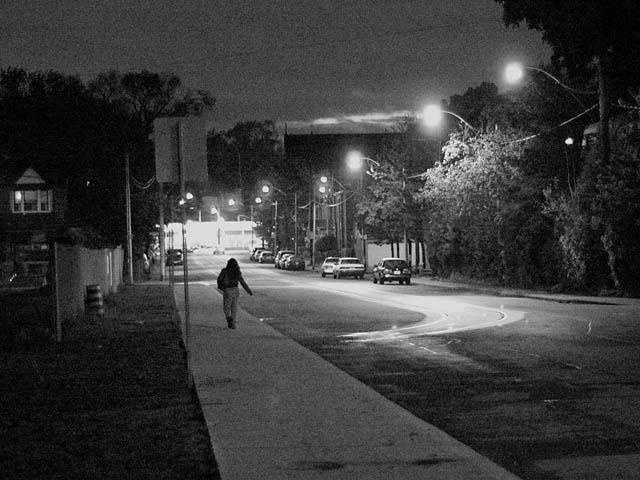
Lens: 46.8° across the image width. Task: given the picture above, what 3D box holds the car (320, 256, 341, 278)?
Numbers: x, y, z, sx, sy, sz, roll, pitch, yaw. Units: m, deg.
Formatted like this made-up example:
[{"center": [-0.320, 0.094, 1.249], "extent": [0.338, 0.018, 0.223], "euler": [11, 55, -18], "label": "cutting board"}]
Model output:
[{"center": [0.965, 2.490, 67.232], "extent": [1.256, 1.535, 3.381], "euler": [-1, -3, -7], "label": "car"}]

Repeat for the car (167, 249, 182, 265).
[{"center": [-17.498, 2.115, 88.877], "extent": [1.589, 1.928, 2.991], "euler": [1, 2, -5], "label": "car"}]

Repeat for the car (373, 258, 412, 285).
[{"center": [5.034, 2.205, 51.790], "extent": [2.568, 1.955, 1.608], "euler": [-4, -4, 22], "label": "car"}]

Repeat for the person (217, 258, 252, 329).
[{"center": [-2.525, 1.599, 21.943], "extent": [0.918, 2.100, 0.954], "euler": [1, 0, -16], "label": "person"}]

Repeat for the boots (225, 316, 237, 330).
[{"center": [-2.626, 2.445, 21.735], "extent": [0.248, 0.377, 0.825], "euler": [1, -3, -14], "label": "boots"}]

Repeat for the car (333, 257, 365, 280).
[{"center": [2.416, 2.463, 63.133], "extent": [2.489, 1.825, 2.055], "euler": [-2, -4, -4], "label": "car"}]
